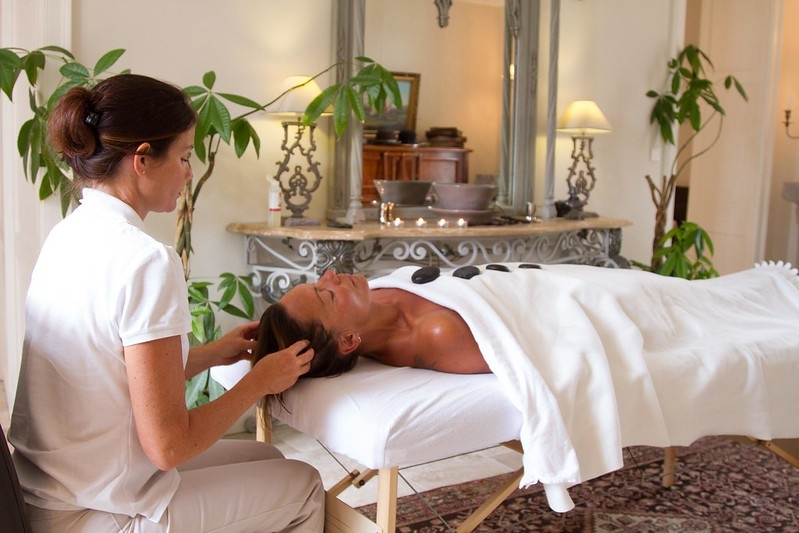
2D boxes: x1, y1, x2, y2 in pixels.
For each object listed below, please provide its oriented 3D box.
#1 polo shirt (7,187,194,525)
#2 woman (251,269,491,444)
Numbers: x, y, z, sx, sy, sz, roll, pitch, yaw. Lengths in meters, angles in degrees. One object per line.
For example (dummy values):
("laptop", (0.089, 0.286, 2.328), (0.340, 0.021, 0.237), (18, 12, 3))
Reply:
("polo shirt", (-0.750, 0.227, 1.602), (0.473, 0.818, 0.255), (-4, 14, -14))
("woman", (-0.174, 0.142, 2.370), (0.981, 0.396, 0.791), (-11, 16, -13))
